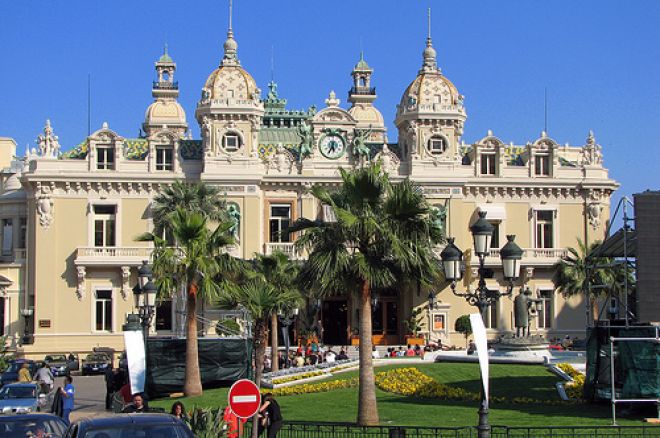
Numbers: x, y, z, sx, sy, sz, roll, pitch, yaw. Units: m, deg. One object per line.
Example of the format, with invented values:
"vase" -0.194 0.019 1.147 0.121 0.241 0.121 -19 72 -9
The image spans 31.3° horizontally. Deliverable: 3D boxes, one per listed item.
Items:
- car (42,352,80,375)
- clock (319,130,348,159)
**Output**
"car" -18.104 9.762 79.783 1.623 1.006 2.817 0 -13 -6
"clock" 0.225 -5.586 87.126 1.479 1.620 0.207 -27 -6 -11
